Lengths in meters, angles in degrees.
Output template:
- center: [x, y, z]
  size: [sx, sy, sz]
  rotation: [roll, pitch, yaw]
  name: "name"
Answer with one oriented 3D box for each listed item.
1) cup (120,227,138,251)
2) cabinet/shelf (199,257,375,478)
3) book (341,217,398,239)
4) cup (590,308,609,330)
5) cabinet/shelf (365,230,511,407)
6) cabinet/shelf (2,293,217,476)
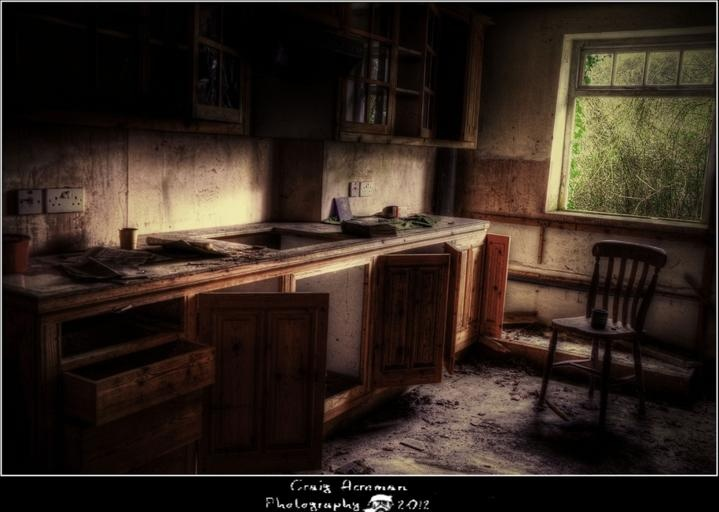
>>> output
- center: [-1.260, -0.109, 2.839]
  size: [0.120, 0.100, 0.105]
  rotation: [0, 0, 14]
  name: "cup"
- center: [-0.587, 0.556, 3.176]
  size: [0.907, 1.195, 1.305]
  rotation: [2, 3, 35]
  name: "cabinet/shelf"
- center: [0.095, -0.199, 3.621]
  size: [0.243, 0.062, 0.247]
  rotation: [10, 13, 41]
  name: "book"
- center: [1.715, 0.458, 3.608]
  size: [0.105, 0.141, 0.162]
  rotation: [0, 6, 15]
  name: "cup"
- center: [0.598, 0.483, 3.929]
  size: [0.676, 0.800, 1.316]
  rotation: [4, 10, 30]
  name: "cabinet/shelf"
- center: [-1.217, 0.549, 2.531]
  size: [0.982, 0.895, 0.735]
  rotation: [5, 7, 32]
  name: "cabinet/shelf"
